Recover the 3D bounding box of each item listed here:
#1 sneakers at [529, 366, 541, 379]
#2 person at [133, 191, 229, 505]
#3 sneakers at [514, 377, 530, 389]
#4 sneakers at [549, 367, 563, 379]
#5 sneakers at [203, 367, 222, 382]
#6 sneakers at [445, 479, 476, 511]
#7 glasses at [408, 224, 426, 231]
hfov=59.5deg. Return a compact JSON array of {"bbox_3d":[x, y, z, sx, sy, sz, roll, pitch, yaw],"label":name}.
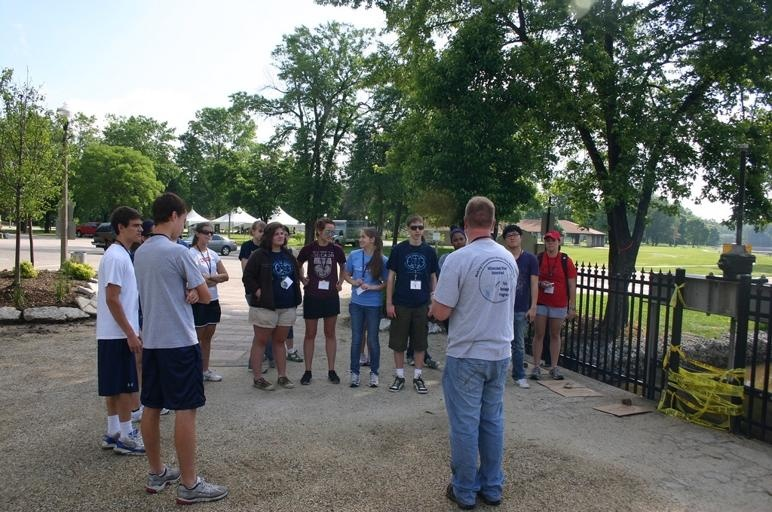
[{"bbox_3d":[2.750,2.160,12.509,0.152,0.177,0.435,-1,-10,17],"label":"sneakers"},{"bbox_3d":[-2.893,1.214,9.218,1.113,4.199,0.414,2,1,9],"label":"person"},{"bbox_3d":[2.415,2.270,12.041,0.120,0.115,0.269,1,-5,-26],"label":"sneakers"},{"bbox_3d":[3.127,2.180,12.520,0.123,0.122,0.277,-1,-4,-8],"label":"sneakers"},{"bbox_3d":[-2.984,2.091,11.923,0.470,0.207,0.168,7,2,1],"label":"sneakers"},{"bbox_3d":[0.975,3.257,9.174,0.192,0.228,0.520,-1,9,-20],"label":"sneakers"},{"bbox_3d":[0.523,-0.503,11.765,0.241,0.123,0.180,2,0,-5],"label":"glasses"}]
